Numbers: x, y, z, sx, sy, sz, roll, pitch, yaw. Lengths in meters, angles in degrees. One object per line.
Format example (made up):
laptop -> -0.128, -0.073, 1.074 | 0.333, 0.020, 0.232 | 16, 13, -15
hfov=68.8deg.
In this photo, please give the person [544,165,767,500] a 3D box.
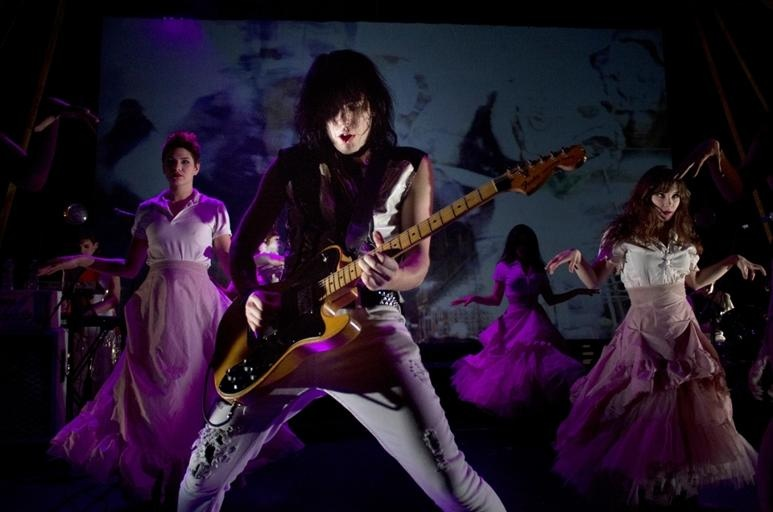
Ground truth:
person -> 2.110, 0.564, 4.543 | 1.344, 2.604, 0.645 | 0, 1, 1
